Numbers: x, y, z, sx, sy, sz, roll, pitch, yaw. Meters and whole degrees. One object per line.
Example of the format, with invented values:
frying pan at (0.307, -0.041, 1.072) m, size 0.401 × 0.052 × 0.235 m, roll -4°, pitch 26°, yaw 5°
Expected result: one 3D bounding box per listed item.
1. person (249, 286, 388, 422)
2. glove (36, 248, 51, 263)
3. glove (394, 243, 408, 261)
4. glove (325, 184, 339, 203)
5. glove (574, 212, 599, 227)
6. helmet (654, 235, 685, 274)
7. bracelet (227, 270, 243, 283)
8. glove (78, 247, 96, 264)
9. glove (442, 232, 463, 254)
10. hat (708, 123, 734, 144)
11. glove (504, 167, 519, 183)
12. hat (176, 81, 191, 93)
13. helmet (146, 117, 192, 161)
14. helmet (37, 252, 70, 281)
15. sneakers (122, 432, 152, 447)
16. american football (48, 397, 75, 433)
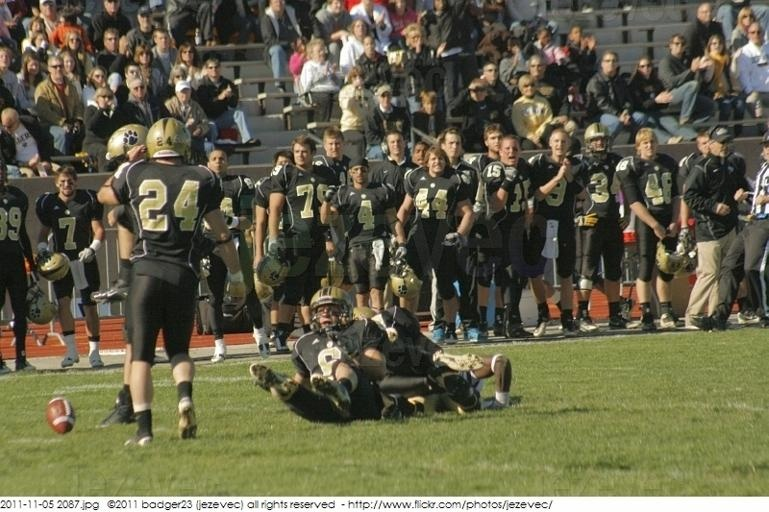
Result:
person at (-0.763, 1.204, 18.796) m, size 0.981 × 1.412 × 1.474 m, roll -3°, pitch -1°, yaw 36°
glove at (-4.874, -0.014, 22.211) m, size 0.165 × 0.201 × 0.078 m, roll 3°, pitch 2°, yaw -14°
glove at (0.219, -0.073, 22.329) m, size 0.208 × 0.236 × 0.248 m, roll -2°, pitch -1°, yaw 1°
glove at (-0.732, -0.894, 22.205) m, size 0.230 × 0.183 × 0.137 m, roll -2°, pitch -1°, yaw -31°
glove at (3.003, -0.541, 23.210) m, size 0.167 × 0.175 × 0.401 m, roll -2°, pitch -1°, yaw -39°
helmet at (4.298, 0.027, 23.317) m, size 0.456 × 0.367 × 0.461 m, roll 29°, pitch 43°, yaw 13°
bracelet at (-1.862, 0.246, 19.544) m, size 0.145 × 0.144 × 0.144 m, roll -6°, pitch 18°, yaw -11°
glove at (-4.233, -0.010, 22.235) m, size 0.182 × 0.200 × 0.212 m, roll -7°, pitch -12°, yaw 17°
glove at (1.001, -0.189, 22.250) m, size 0.212 × 0.232 × 0.269 m, roll 11°, pitch 11°, yaw 0°
hat at (5.049, -1.809, 23.342) m, size 0.315 × 0.242 × 0.359 m, roll -2°, pitch -1°, yaw 13°
glove at (1.861, -1.193, 22.694) m, size 0.181 × 0.176 × 0.198 m, roll -1°, pitch -9°, yaw 7°
hat at (-3.304, -2.808, 25.562) m, size 0.230 × 0.168 × 0.332 m, roll -2°, pitch -1°, yaw -11°
helmet at (-2.625, -1.433, 19.003) m, size 0.418 × 0.431 × 0.562 m, roll 2°, pitch 17°, yaw 5°
helmet at (-4.719, 0.149, 22.194) m, size 0.366 × 0.333 × 0.437 m, roll -4°, pitch 3°, yaw -12°
sneakers at (-2.915, 2.188, 18.527) m, size 0.358 × 0.159 × 0.130 m, roll 1°, pitch -7°, yaw 14°
american football at (-3.854, 1.872, 18.652) m, size 0.276 × 0.418 × 0.254 m, roll -4°, pitch -32°, yaw -38°
